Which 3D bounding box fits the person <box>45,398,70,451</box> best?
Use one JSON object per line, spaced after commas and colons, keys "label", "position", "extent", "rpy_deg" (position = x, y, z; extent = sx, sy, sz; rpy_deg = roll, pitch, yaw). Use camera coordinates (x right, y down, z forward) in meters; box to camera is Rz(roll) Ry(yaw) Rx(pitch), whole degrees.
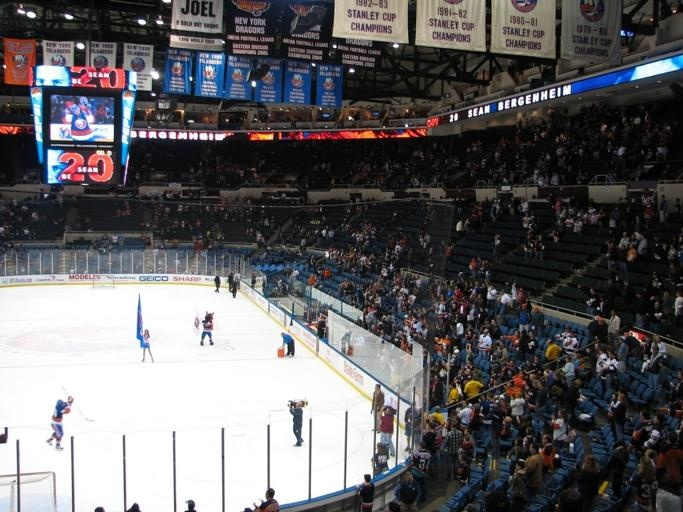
{"label": "person", "position": [-8.342, 4.949, 19.764], "extent": [0.719, 1.497, 1.137], "rpy_deg": [-3, 9, -22]}

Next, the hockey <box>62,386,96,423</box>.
{"label": "hockey", "position": [-8.822, 5.044, 22.436], "extent": [0.999, 0.500, 0.284], "rpy_deg": [38, -38, -26]}
